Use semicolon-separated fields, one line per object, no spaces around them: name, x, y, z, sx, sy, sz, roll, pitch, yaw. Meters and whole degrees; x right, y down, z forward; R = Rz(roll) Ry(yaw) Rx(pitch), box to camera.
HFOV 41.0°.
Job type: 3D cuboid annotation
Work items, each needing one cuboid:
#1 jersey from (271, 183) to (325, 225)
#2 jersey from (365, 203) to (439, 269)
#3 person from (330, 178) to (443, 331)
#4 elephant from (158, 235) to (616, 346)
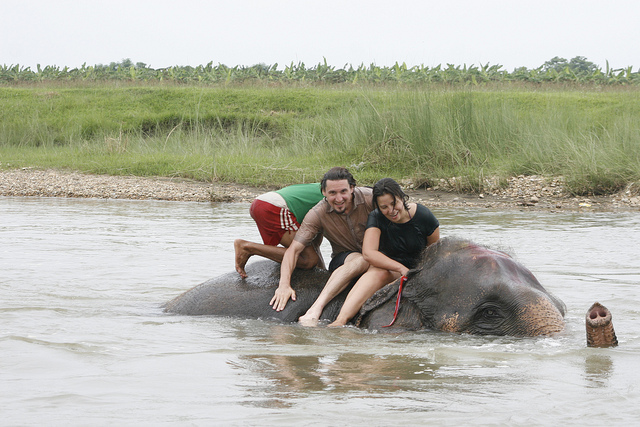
jersey;-0.172;-0.105;9.315;0.480;0.384;0.505;-9;15;-33
jersey;0.825;0.238;8.629;0.801;0.604;0.387;1;12;6
person;0.543;0.376;8.565;0.893;1.285;1.711;5;16;36
elephant;0.892;0.818;9.170;4.722;1.435;1.467;3;-22;29
